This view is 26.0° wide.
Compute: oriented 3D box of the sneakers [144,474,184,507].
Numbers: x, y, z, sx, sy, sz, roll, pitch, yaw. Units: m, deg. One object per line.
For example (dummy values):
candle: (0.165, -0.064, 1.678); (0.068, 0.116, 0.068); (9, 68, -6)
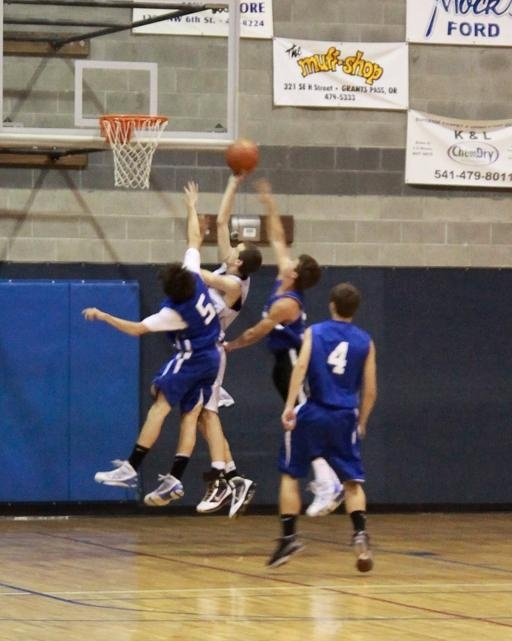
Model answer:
sneakers: (-0.505, 0.927, 6.017); (0.175, 0.224, 0.241); (-2, 9, -17)

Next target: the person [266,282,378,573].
person: (0.340, 0.563, 5.378); (0.481, 1.469, 0.597); (2, 8, 7)

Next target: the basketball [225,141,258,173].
basketball: (-0.095, -0.990, 6.879); (0.219, 0.226, 0.200); (5, -9, -4)

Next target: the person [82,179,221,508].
person: (-0.438, 0.207, 6.061); (0.404, 1.558, 0.714); (4, 9, 23)

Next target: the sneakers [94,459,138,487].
sneakers: (-0.729, 0.819, 6.002); (0.194, 0.139, 0.234); (2, 8, 9)

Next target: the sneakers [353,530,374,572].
sneakers: (0.502, 1.104, 5.211); (0.087, 0.215, 0.156); (1, 8, 5)
